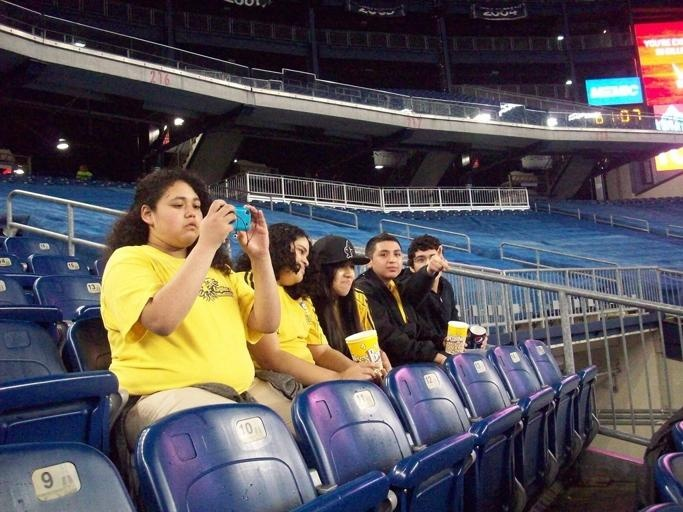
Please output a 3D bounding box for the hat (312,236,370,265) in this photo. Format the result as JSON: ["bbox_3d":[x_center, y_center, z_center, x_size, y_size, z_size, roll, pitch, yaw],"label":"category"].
[{"bbox_3d":[-0.009,-0.026,3.316,0.259,0.144,0.170,-6,0,8],"label":"hat"}]
